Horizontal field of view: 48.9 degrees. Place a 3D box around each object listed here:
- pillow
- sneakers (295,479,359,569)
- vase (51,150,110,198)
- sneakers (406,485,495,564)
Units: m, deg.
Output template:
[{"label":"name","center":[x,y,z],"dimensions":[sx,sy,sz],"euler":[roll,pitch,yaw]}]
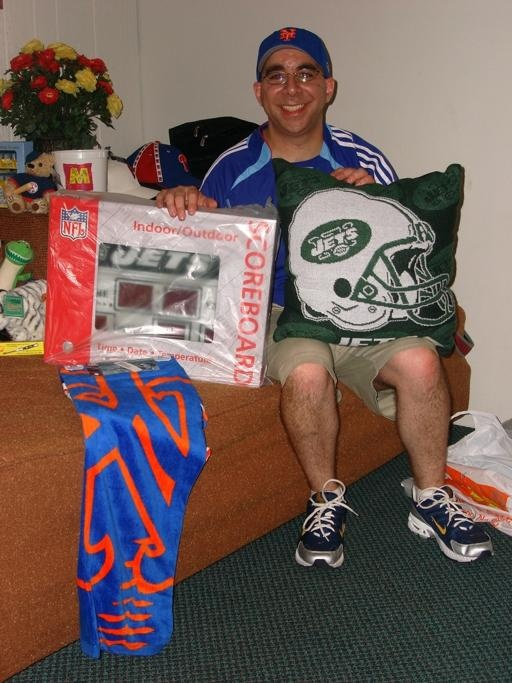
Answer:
[{"label":"pillow","center":[0.223,-0.163,1.180],"dimensions":[0.521,0.471,0.201],"euler":[2,4,2]},{"label":"sneakers","center":[0.147,0.387,1.168],"dimensions":[0.100,0.089,0.210],"euler":[6,35,10]},{"label":"vase","center":[-0.423,-0.413,1.365],"dimensions":[0.126,0.095,0.093],"euler":[-4,13,-11]},{"label":"sneakers","center":[0.407,0.393,1.258],"dimensions":[0.092,0.097,0.209],"euler":[-18,15,-21]}]
